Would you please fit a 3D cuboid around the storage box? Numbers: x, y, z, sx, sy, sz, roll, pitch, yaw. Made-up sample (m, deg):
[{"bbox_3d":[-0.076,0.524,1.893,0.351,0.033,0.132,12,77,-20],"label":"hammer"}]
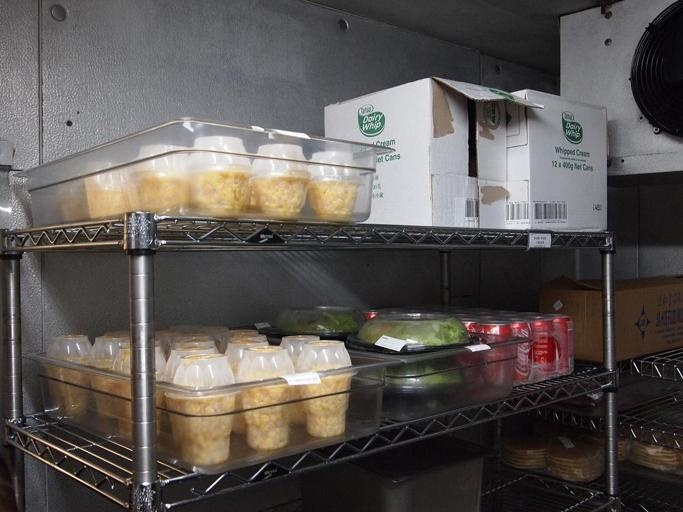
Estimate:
[{"bbox_3d":[0.394,-0.282,1.604,0.738,0.341,0.532,1,-1,-37],"label":"storage box"}]
